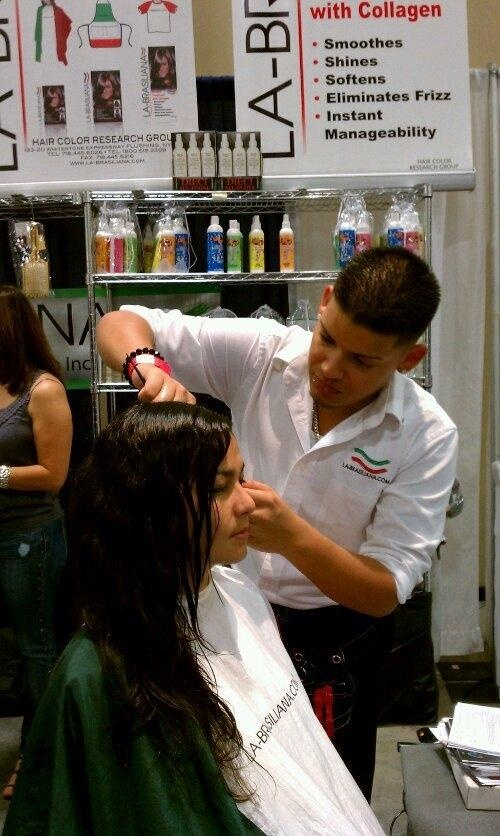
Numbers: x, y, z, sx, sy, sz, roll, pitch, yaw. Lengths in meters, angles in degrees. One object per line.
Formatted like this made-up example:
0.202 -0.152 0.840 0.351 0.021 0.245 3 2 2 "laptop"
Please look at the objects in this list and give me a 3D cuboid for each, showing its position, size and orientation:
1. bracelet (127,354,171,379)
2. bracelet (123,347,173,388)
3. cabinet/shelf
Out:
-0.165 -0.087 1.075 0.070 0.054 0.098 -5 7 -22 "bracelet"
-0.175 -0.094 1.080 0.064 0.071 0.027 -5 14 11 "bracelet"
-0.082 -0.354 2.502 0.981 1.004 0.351 0 14 -5 "cabinet/shelf"
